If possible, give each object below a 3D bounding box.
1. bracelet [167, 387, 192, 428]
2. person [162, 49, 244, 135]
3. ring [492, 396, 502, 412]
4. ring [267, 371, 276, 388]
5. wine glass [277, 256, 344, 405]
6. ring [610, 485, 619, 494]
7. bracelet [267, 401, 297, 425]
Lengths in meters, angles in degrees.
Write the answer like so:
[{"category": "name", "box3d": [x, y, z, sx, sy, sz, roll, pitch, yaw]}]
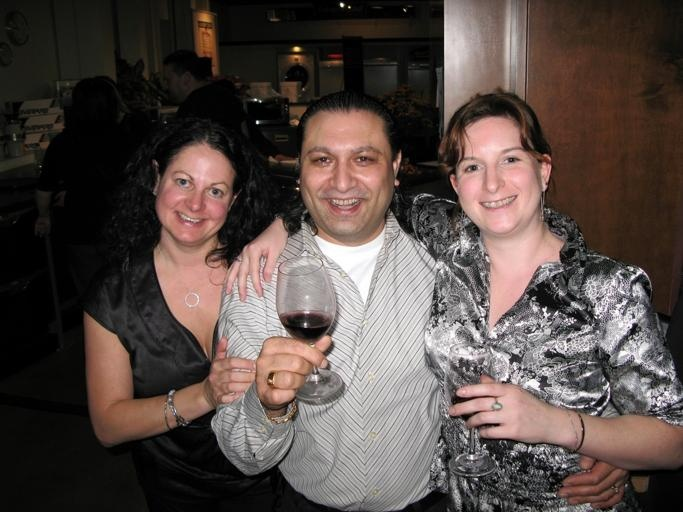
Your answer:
[{"category": "bracelet", "box3d": [-0.666, 0.597, 2.240, 0.047, 0.127, 0.107, -20, -8, -18]}, {"category": "person", "box3d": [-1.323, -1.393, 5.191, 0.629, 0.882, 0.900, -3, 23, -5]}, {"category": "ring", "box3d": [0.492, 0.472, 1.791, 0.035, 0.032, 0.020, 1, 12, 12]}, {"category": "ring", "box3d": [-0.223, 0.383, 1.753, 0.026, 0.037, 0.038, 5, -18, -3]}, {"category": "wine glass", "box3d": [-0.115, 0.294, 2.007, 0.229, 0.564, 0.330, -1, 11, -1]}, {"category": "ring", "box3d": [0.934, 0.793, 1.923, 0.041, 0.030, 0.009, -7, 13, -27]}, {"category": "bracelet", "box3d": [-0.203, 0.542, 1.961, 0.093, 0.086, 0.034, -32, -3, 17]}]
